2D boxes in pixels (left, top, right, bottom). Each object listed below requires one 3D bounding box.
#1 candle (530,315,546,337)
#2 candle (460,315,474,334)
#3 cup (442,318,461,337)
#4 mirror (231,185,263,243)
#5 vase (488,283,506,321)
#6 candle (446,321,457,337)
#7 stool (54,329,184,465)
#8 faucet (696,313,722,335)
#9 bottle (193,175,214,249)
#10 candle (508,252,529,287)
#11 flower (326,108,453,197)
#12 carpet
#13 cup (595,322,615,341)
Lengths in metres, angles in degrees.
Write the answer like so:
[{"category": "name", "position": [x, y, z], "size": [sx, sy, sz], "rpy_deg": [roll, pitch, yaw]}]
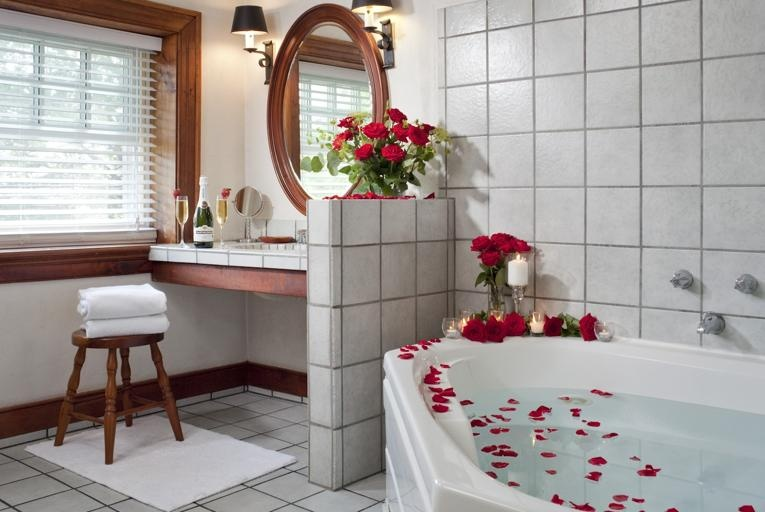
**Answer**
[{"category": "candle", "position": [0.743, 0.342, 2.580], "size": [0.089, 0.138, 0.094], "rpy_deg": [-1, -2, 15]}, {"category": "candle", "position": [0.389, 0.331, 2.543], "size": [0.067, 0.085, 0.122], "rpy_deg": [2, 7, 8]}, {"category": "cup", "position": [0.321, 0.348, 2.534], "size": [0.088, 0.068, 0.089], "rpy_deg": [-2, 0, 0]}, {"category": "mirror", "position": [-0.936, -0.289, 3.636], "size": [0.186, 0.359, 0.285], "rpy_deg": [-2, 7, -23]}, {"category": "vase", "position": [0.604, 0.256, 2.850], "size": [0.107, 0.166, 0.102], "rpy_deg": [-3, -13, 27]}, {"category": "candle", "position": [0.319, 0.353, 2.531], "size": [0.071, 0.076, 0.069], "rpy_deg": [0, -1, 3]}, {"category": "stool", "position": [-1.480, 0.729, 2.910], "size": [0.638, 0.583, 0.635], "rpy_deg": [-1, -2, 45]}, {"category": "faucet", "position": [1.450, 0.302, 2.384], "size": [0.102, 0.096, 0.101], "rpy_deg": [-17, -16, 41]}, {"category": "bottle", "position": [-1.163, -0.288, 3.361], "size": [0.102, 0.436, 0.448], "rpy_deg": [-1, 7, -20]}, {"category": "candle", "position": [0.683, 0.075, 2.717], "size": [0.111, 0.170, 0.137], "rpy_deg": [3, 7, 15]}, {"category": "flower", "position": [0.003, -0.551, 2.860], "size": [0.598, 0.404, 0.585], "rpy_deg": [-1, 10, -9]}, {"category": "carpet", "position": [-1.158, 1.048, 2.765], "size": [1.173, 0.033, 0.753], "rpy_deg": [5, 8, 34]}, {"category": "cup", "position": [1.030, 0.355, 2.478], "size": [0.087, 0.072, 0.076], "rpy_deg": [-3, 5, -28]}]
